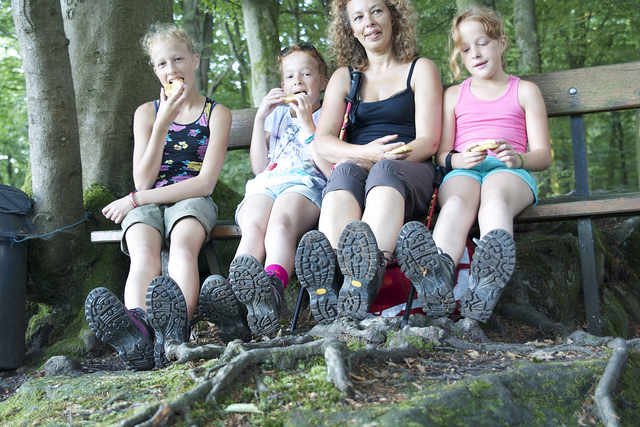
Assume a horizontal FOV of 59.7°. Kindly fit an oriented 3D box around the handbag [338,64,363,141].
[{"bbox_3d":[0.235,-0.908,4.485,0.113,0.678,0.141,3,10,-45],"label":"handbag"}]

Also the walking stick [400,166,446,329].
[{"bbox_3d":[0.693,0.236,3.774,0.113,1.150,0.122,13,-12,41],"label":"walking stick"}]

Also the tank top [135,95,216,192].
[{"bbox_3d":[-1.229,-0.562,4.755,0.643,0.877,0.461,7,-13,8],"label":"tank top"}]

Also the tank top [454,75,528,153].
[{"bbox_3d":[1.385,-0.783,4.492,0.629,0.870,0.481,-1,-6,17],"label":"tank top"}]
